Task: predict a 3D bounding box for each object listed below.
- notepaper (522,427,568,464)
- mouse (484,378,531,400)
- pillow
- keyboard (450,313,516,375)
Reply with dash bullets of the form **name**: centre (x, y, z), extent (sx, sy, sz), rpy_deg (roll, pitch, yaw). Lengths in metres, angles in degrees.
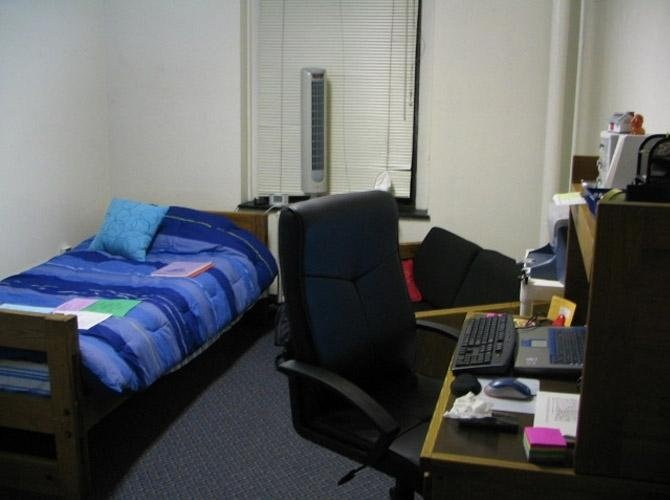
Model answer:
- **notepaper**: centre (0.579, 0.535, 1.510), extent (0.118, 0.064, 0.076), rpy_deg (1, 15, 13)
- **mouse**: centre (0.557, 0.434, 1.762), extent (0.105, 0.038, 0.067), rpy_deg (-2, 3, 16)
- **pillow**: centre (-1.555, -0.216, 4.134), extent (0.456, 0.143, 0.467), rpy_deg (8, 62, 21)
- **keyboard**: centre (0.555, 0.348, 2.038), extent (0.152, 0.058, 0.330), rpy_deg (-6, 22, 21)
